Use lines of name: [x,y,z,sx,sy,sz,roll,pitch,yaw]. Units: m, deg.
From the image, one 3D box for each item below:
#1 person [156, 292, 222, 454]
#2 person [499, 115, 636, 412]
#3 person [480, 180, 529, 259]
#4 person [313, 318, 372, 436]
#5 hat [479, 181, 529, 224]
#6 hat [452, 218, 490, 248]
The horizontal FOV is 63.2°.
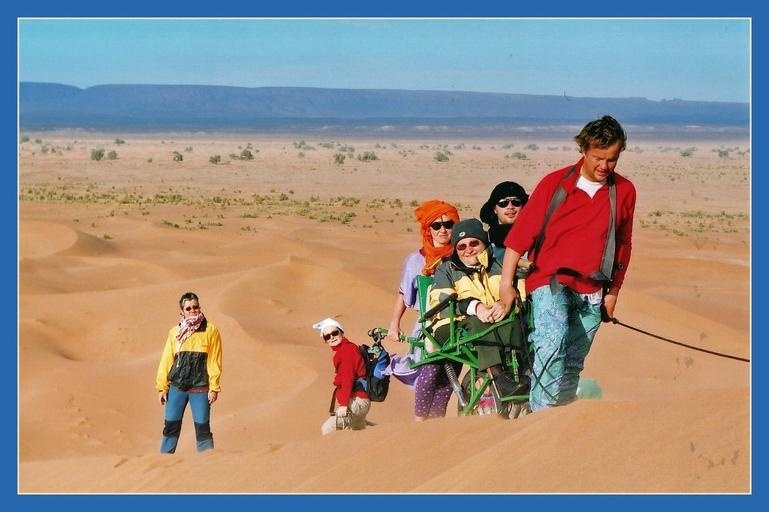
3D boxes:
person: [-2.276,1.411,7.172,0.720,1.971,0.475,3,8,-3]
person: [1.631,0.147,5.723,1.127,2.810,0.602,5,8,13]
person: [1.437,-0.487,7.243,0.713,0.808,0.472,0,-10,-6]
person: [-0.458,1.374,6.915,0.511,1.333,0.584,0,9,-24]
hat: [1.347,-0.677,7.303,0.531,0.238,0.512,0,-9,-15]
hat: [0.870,-0.232,6.328,0.353,0.258,0.250,7,-6,-3]
